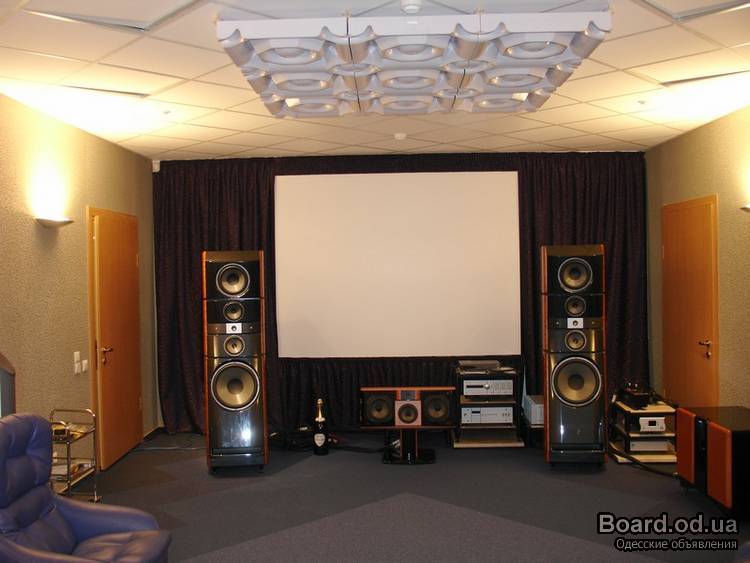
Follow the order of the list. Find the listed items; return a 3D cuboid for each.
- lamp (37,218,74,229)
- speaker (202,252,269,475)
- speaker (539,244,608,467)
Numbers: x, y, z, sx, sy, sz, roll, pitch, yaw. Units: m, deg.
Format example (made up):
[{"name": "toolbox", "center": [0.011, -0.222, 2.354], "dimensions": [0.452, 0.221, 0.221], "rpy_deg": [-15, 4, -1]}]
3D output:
[{"name": "lamp", "center": [-2.773, -0.522, 5.386], "dimensions": [0.225, 0.109, 0.361], "rpy_deg": [-1, 9, 3]}, {"name": "speaker", "center": [-1.344, 0.729, 5.842], "dimensions": [0.556, 2.013, 0.357], "rpy_deg": [-1, 10, 0]}, {"name": "speaker", "center": [1.892, 0.681, 5.866], "dimensions": [0.560, 2.035, 0.418], "rpy_deg": [-1, 10, 2]}]
